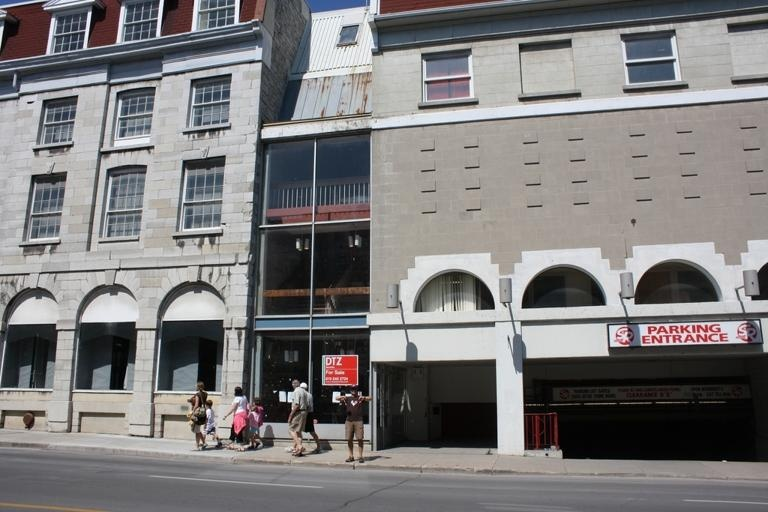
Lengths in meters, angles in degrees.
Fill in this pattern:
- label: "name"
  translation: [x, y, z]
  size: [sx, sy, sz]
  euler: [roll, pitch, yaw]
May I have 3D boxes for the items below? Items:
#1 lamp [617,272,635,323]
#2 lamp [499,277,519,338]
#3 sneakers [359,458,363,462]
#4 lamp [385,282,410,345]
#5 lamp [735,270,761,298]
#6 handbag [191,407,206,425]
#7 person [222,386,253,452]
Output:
- label: "lamp"
  translation: [9.175, 1.556, 29.254]
  size: [0.546, 1.919, 0.524]
  euler: [0, -1, 17]
- label: "lamp"
  translation: [4.806, 1.967, 29.888]
  size: [0.656, 2.304, 0.453]
  euler: [1, -1, -21]
- label: "sneakers"
  translation: [-0.788, 7.359, 27.912]
  size: [0.114, 0.109, 0.118]
  euler: [-2, -8, 3]
- label: "lamp"
  translation: [0.691, 2.311, 31.124]
  size: [0.923, 2.913, 0.498]
  euler: [-10, 20, -27]
- label: "lamp"
  translation: [13.728, 1.003, 28.879]
  size: [0.925, 1.051, 0.633]
  euler: [1, -1, -22]
- label: "handbag"
  translation: [-6.919, 5.976, 29.117]
  size: [0.492, 0.664, 0.656]
  euler: [8, 3, 36]
- label: "person"
  translation: [-5.556, 6.218, 29.841]
  size: [0.794, 2.372, 1.031]
  euler: [1, -1, -10]
